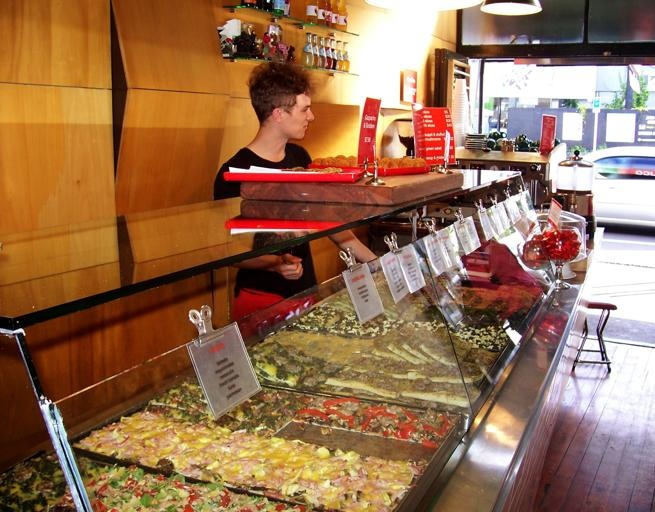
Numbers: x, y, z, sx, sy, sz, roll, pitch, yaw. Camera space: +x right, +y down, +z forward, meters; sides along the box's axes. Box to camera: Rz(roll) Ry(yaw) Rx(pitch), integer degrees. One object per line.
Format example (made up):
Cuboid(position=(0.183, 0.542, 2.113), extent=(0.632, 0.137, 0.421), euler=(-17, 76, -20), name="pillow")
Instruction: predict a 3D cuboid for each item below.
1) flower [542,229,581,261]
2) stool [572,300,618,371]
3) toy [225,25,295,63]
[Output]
Cuboid(position=(1.221, -0.060, 2.326), extent=(0.186, 0.177, 0.169), euler=(-7, 15, -10), name="flower")
Cuboid(position=(2.327, 0.677, 3.791), extent=(0.359, 0.558, 0.350), euler=(1, 1, 18), name="stool")
Cuboid(position=(-0.505, -1.534, 3.133), extent=(0.269, 0.245, 0.577), euler=(4, 16, 28), name="toy")
